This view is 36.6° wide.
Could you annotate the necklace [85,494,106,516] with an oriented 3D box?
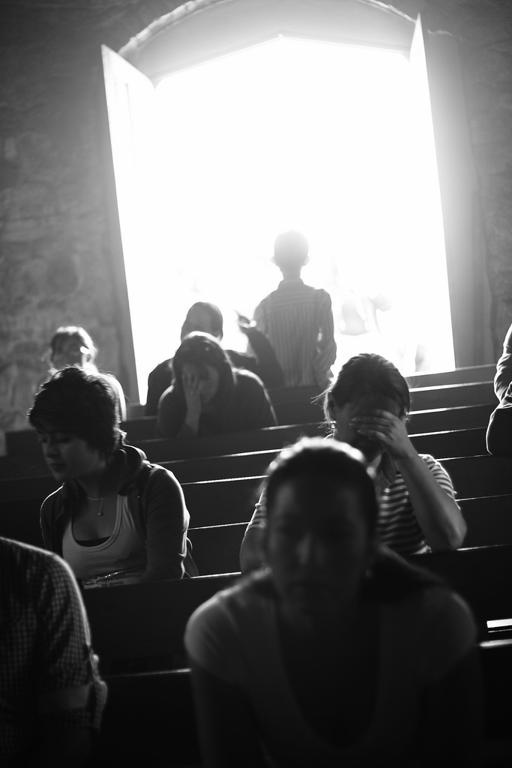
[{"bbox_3d":[-0.382,0.290,1.848,0.040,0.059,0.049,0,-20,3],"label":"necklace"}]
